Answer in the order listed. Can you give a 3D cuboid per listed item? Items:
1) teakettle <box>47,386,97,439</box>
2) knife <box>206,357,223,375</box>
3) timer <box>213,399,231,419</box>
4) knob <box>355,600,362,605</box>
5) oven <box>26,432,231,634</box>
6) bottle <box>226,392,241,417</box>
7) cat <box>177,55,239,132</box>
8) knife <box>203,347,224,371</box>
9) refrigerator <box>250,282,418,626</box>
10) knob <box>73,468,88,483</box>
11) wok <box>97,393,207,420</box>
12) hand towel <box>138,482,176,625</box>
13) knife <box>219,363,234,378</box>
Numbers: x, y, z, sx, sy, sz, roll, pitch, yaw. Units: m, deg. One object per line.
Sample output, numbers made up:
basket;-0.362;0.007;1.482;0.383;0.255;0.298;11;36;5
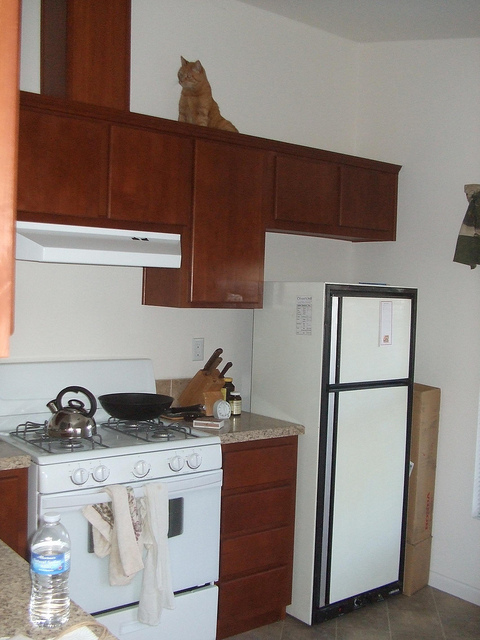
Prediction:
teakettle;-0.705;0.344;2.374;0.181;0.193;0.448;0;8;-18
knife;-0.138;0.240;2.998;0.040;0.146;0.034;27;23;-15
timer;-0.092;0.422;2.709;0.035;0.095;0.098;-3;1;34
knob;0.586;1.381;2.814;0.025;0.022;0.006;6;-5;-6
oven;-0.355;0.889;2.200;0.817;0.877;0.317;-5;10;-44
bottle;-0.036;0.426;2.892;0.061;0.110;0.084;0;8;-15
cat;-0.175;-1.023;2.676;0.266;0.325;0.258;-9;19;-38
knife;-0.145;0.213;2.982;0.045;0.023;0.192;17;-43;-24
refrigerator;0.470;0.624;3.123;0.685;1.659;0.709;2;2;-34
knob;-0.555;0.538;1.984;0.053;0.047;0.016;-4;10;-40
wok;-0.418;0.397;2.618;0.422;0.089;0.367;1;6;-37
hand towel;-0.308;0.845;2.133;0.125;0.493;0.133;1;5;-37
knife;-0.076;0.262;3.010;0.038;0.032;0.134;-16;-27;-28
